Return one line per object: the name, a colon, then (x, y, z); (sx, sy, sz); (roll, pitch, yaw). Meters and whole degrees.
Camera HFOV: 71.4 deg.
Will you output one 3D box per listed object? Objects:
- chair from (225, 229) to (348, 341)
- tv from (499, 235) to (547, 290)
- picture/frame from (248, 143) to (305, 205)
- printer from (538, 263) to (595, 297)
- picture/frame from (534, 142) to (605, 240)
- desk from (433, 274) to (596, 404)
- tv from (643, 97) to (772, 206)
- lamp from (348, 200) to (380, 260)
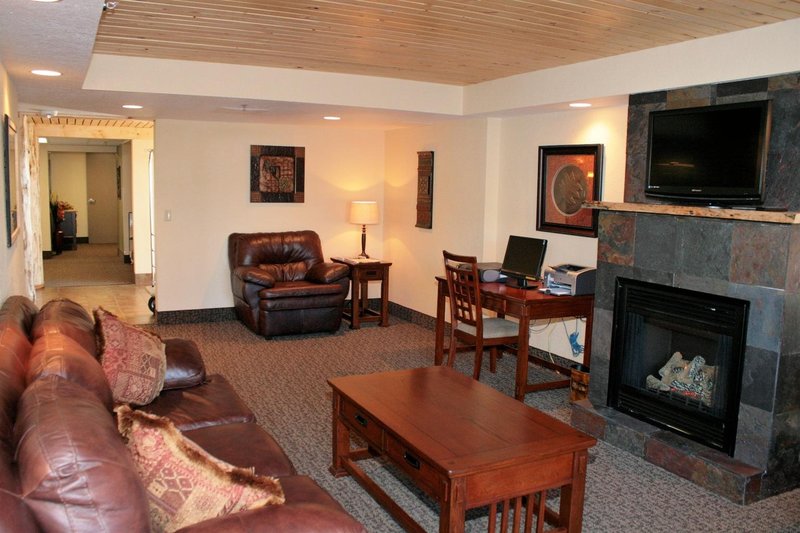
chair: (-1.472, 0.196, 7.278); (1.372, 1.148, 1.518); (-2, 10, -25)
tv: (1.228, -0.030, 5.529); (0.192, 0.437, 0.453); (25, -2, -31)
picture/frame: (-1.685, -1.257, 7.436); (0.842, 0.827, 0.056); (-2, 13, -24)
printer: (1.569, 0.077, 5.107); (0.313, 0.158, 0.326); (-10, 13, -36)
picture/frame: (1.680, -0.752, 5.467); (0.093, 1.104, 0.958); (-4, 9, -30)
desk: (1.105, 0.651, 5.684); (0.851, 1.011, 1.391); (-3, 10, -29)
tv: (2.200, -0.816, 3.948); (0.119, 0.713, 0.841); (-5, 7, -33)
lamp: (-0.508, -0.514, 7.706); (0.373, 0.791, 0.641); (-3, 10, -7)
